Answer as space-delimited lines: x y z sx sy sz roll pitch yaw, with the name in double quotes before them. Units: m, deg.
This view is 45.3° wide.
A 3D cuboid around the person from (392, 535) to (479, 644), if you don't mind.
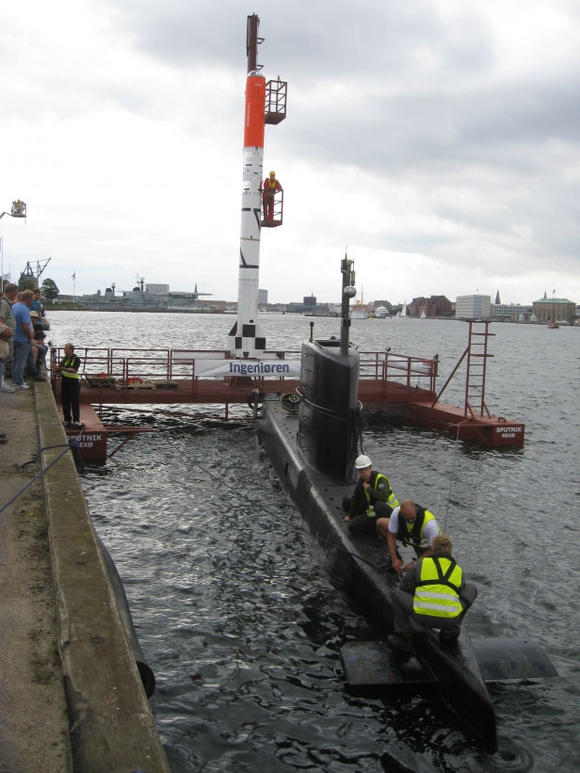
"person" 1.381 1.937 6.551 0.571 1.096 0.712 0 8 -22
